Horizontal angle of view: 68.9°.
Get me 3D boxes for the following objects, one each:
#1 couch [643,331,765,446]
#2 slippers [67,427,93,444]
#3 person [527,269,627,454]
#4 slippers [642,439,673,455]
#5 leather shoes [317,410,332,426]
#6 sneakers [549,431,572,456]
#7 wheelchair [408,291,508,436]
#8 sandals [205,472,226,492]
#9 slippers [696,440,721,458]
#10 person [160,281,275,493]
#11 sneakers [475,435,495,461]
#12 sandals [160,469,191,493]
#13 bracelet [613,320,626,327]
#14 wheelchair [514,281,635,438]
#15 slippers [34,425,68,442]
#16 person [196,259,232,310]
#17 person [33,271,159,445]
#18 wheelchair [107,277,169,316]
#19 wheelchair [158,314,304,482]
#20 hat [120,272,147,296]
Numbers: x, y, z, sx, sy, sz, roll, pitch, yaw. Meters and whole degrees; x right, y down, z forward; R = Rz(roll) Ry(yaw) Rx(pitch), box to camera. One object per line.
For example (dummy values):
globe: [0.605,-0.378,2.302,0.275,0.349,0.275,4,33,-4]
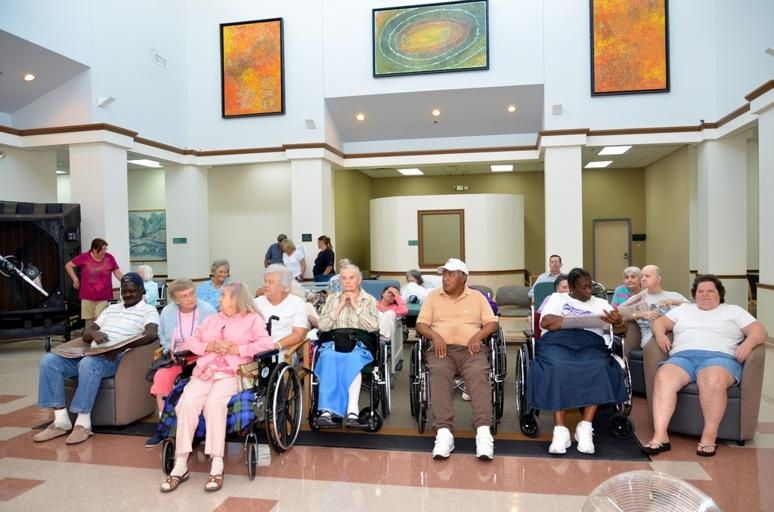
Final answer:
couch: [3.610,1.385,6.442,1.243,1.186,1.095,-3,-10,32]
slippers: [-3.450,2.001,6.355,0.278,0.191,0.159,-3,3,-38]
person: [2.081,1.123,6.229,1.015,1.886,0.895,0,3,11]
slippers: [2.825,1.997,5.900,0.317,0.092,0.114,0,-5,-13]
leather shoes: [-0.667,1.756,6.102,0.147,0.140,0.140,2,5,4]
sneakers: [1.842,1.946,5.983,0.145,0.269,0.314,2,4,42]
wheelchair: [0.829,1.431,6.677,1.096,1.106,1.158,0,3,8]
sandals: [-1.709,2.234,5.593,0.198,0.148,0.161,-2,3,-23]
slippers: [3.377,2.004,5.892,0.332,0.124,0.126,-2,3,-28]
person: [-1.808,1.304,5.892,0.716,1.979,1.108,1,4,39]
sneakers: [1.026,1.996,5.909,0.182,0.241,0.228,0,3,9]
sandals: [-2.095,2.238,5.644,0.122,0.142,0.332,1,3,29]
bracelet: [2.574,0.750,6.252,0.106,0.029,0.111,-2,2,12]
wheelchair: [2.186,1.231,6.628,1.315,1.761,1.473,-4,-4,7]
slippers: [-3.814,2.024,6.482,0.136,0.146,0.375,0,-2,39]
person: [-2.574,0.485,8.540,0.641,0.865,0.474,2,1,-31]
person: [-3.379,1.149,6.566,1.334,1.872,0.664,-2,3,-29]
wheelchair: [-3.446,0.566,7.807,0.570,0.789,0.780,0,-6,0]
wheelchair: [-1.534,1.446,6.145,0.957,1.326,1.131,-4,-8,18]
hat: [-3.043,0.331,6.842,0.316,0.241,0.227,20,-9,-40]
